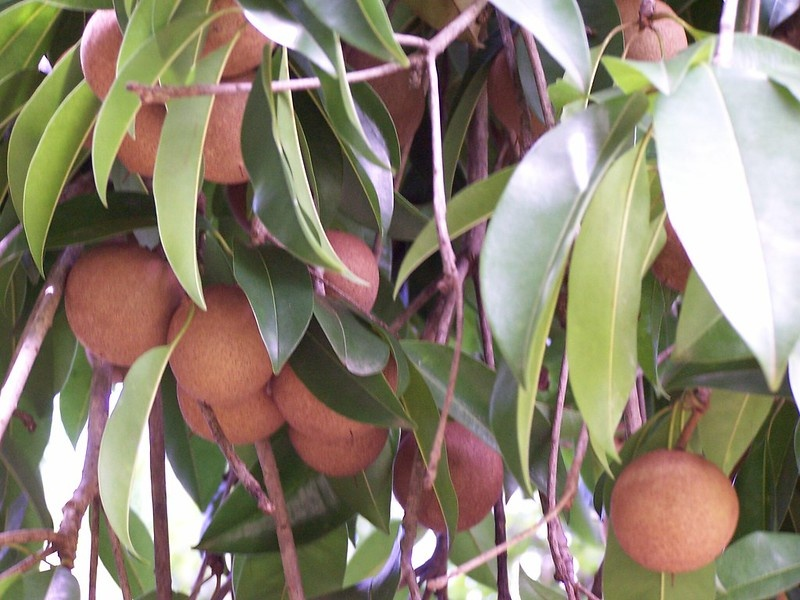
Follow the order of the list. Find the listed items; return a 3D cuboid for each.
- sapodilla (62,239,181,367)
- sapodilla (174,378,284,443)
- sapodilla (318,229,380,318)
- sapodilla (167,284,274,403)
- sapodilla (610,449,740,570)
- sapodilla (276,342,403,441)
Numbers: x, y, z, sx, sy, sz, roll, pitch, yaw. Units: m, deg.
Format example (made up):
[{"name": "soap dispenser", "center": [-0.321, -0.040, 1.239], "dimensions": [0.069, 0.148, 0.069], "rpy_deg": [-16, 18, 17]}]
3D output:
[{"name": "sapodilla", "center": [-0.199, 0.005, 0.735], "dimensions": [0.089, 0.085, 0.118], "rpy_deg": [-3, 5, 17]}, {"name": "sapodilla", "center": [-0.130, 0.088, 0.711], "dimensions": [0.047, 0.037, 0.055], "rpy_deg": [3, -13, 23]}, {"name": "sapodilla", "center": [-0.034, -0.022, 0.742], "dimensions": [0.029, 0.063, 0.046], "rpy_deg": [-28, -7, 4]}, {"name": "sapodilla", "center": [-0.134, 0.017, 0.669], "dimensions": [0.053, 0.093, 0.043], "rpy_deg": [-8, 3, -3]}, {"name": "sapodilla", "center": [0.197, 0.155, 0.694], "dimensions": [0.071, 0.095, 0.085], "rpy_deg": [8, -32, -6]}, {"name": "sapodilla", "center": [-0.051, 0.083, 0.702], "dimensions": [0.063, 0.042, 0.064], "rpy_deg": [31, -2, -36]}]
